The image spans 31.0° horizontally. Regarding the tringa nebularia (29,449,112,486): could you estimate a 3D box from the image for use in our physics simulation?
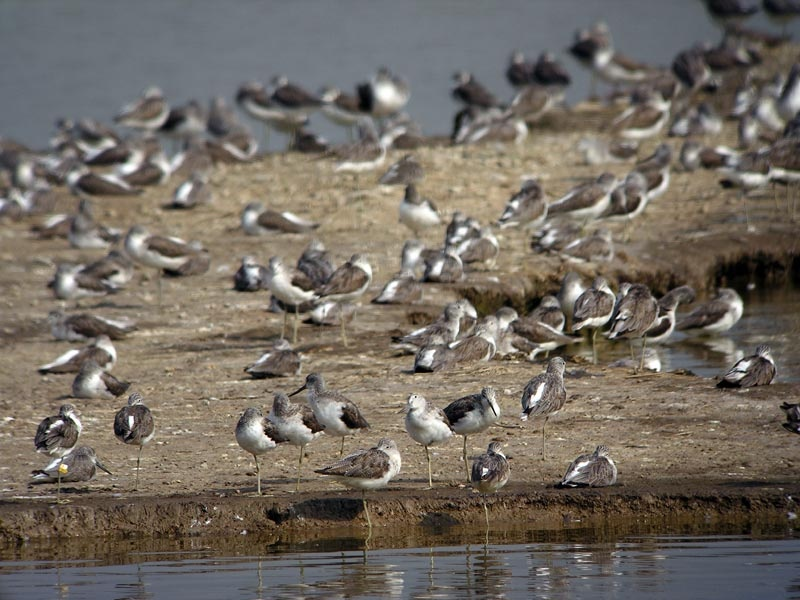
[{"bbox_3d":[-4.275,2.185,18.736,0.861,0.534,0.824,10,-25,-22],"label":"tringa nebularia"}]

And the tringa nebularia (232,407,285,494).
[{"bbox_3d":[-1.819,2.009,18.693,0.619,1.132,1.022,2,-24,-6],"label":"tringa nebularia"}]

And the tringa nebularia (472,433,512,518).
[{"bbox_3d":[1.138,2.259,18.118,0.482,0.973,0.910,-1,-24,2],"label":"tringa nebularia"}]

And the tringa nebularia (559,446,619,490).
[{"bbox_3d":[2.442,2.147,18.317,0.772,0.487,0.408,2,-4,-33],"label":"tringa nebularia"}]
